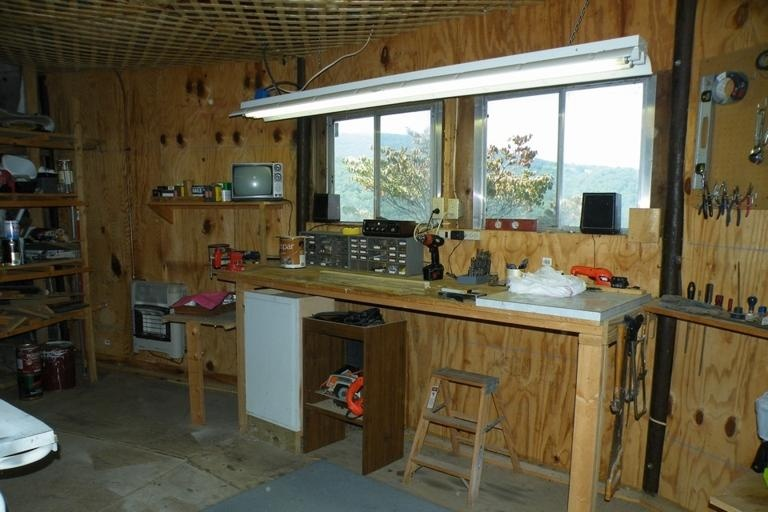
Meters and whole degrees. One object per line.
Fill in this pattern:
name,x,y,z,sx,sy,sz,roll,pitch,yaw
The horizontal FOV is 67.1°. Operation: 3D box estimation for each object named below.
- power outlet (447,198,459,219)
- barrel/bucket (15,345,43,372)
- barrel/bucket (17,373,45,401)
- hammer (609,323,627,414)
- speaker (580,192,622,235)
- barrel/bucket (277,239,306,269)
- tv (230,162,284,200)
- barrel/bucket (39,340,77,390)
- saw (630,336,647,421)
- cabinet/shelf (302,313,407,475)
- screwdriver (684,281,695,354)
power outlet,0.588,-0.406,4.876,0.107,0.165,0.050,2,7,5
barrel/bucket,-3.358,0.971,5.497,0.256,0.266,0.258,2,-2,0
barrel/bucket,-3.389,1.217,5.575,0.205,0.264,0.172,-3,8,-31
hammer,1.627,0.786,4.132,0.101,0.676,0.182,2,11,13
speaker,1.654,-0.324,4.457,0.247,0.314,0.178,3,1,23
barrel/bucket,-0.826,-0.040,5.372,0.264,0.265,0.270,0,1,0
tv,-1.207,-0.721,5.548,0.465,0.350,0.112,-1,7,-13
barrel/bucket,-3.266,1.111,5.851,0.363,0.382,0.344,-5,-3,0
saw,1.861,0.849,4.229,0.167,0.739,0.066,-18,16,-40
cabinet/shelf,-0.231,1.094,4.749,0.694,1.119,0.505,-1,-3,40
screwdriver,2.185,0.439,4.152,0.056,0.524,0.080,5,8,28
